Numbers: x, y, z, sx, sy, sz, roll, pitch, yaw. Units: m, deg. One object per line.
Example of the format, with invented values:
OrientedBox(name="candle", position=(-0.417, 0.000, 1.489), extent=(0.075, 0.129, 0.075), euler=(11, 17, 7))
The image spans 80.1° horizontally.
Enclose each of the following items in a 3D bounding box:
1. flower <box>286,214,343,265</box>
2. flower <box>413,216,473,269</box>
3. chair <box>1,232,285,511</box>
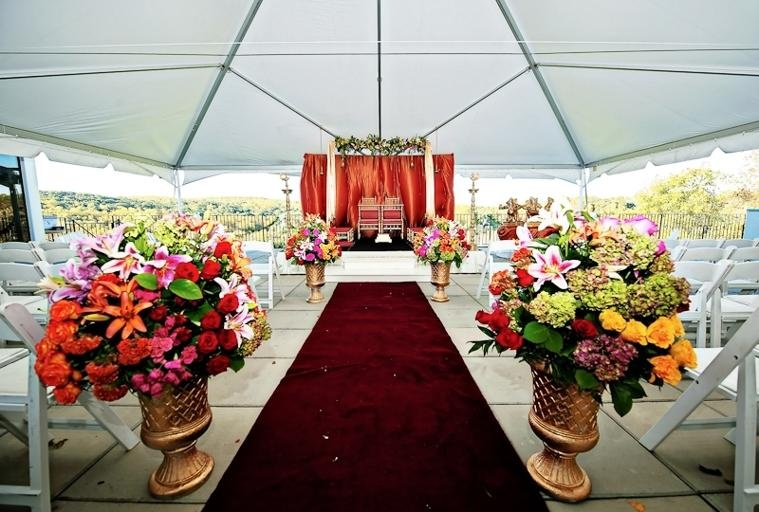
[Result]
OrientedBox(name="flower", position=(-1.130, -0.295, 7.603), extent=(0.916, 0.738, 0.844), euler=(1, -4, -8))
OrientedBox(name="flower", position=(1.033, -0.211, 7.545), extent=(0.855, 0.858, 0.843), euler=(-3, 9, -12))
OrientedBox(name="chair", position=(-1.800, 0.980, 5.052), extent=(2.466, 2.573, 2.352), euler=(0, -1, -5))
